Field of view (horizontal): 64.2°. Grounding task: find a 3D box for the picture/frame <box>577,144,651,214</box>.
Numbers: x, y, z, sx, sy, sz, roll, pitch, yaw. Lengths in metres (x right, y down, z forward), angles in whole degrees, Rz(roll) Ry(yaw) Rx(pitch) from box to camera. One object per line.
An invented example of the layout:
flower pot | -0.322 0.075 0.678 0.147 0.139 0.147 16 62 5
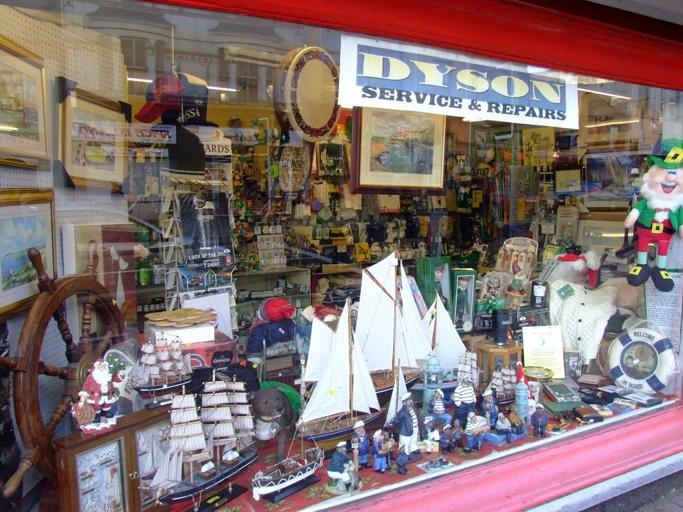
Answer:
picture/frame | 2.317 -0.650 4.543 0.029 0.567 0.763 -8 9 -21

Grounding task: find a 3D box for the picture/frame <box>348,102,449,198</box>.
picture/frame | 0.434 -0.775 3.891 0.679 0.726 0.049 4 -17 -2

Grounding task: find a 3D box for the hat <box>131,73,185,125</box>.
hat | -1.188 -1.077 3.518 0.370 0.192 0.232 -20 32 -40

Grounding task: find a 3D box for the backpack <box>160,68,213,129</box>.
backpack | -1.074 -1.080 3.777 0.243 0.366 0.367 18 22 31
